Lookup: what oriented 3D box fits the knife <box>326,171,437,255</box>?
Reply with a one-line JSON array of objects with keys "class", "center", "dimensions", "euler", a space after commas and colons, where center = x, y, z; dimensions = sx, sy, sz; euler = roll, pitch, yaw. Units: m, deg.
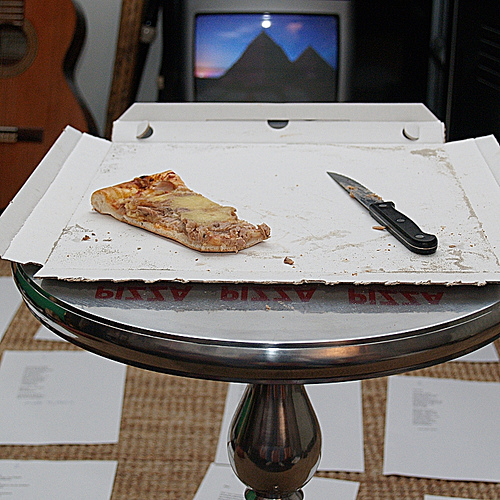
[{"class": "knife", "center": [0.113, -0.032, 0.553], "dimensions": [0.030, 0.013, 0.147], "euler": [-17, 25, -16]}]

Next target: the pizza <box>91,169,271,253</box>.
[{"class": "pizza", "center": [-0.058, -0.047, 0.558], "dimensions": [0.137, 0.028, 0.083], "euler": [24, 33, 29]}]
